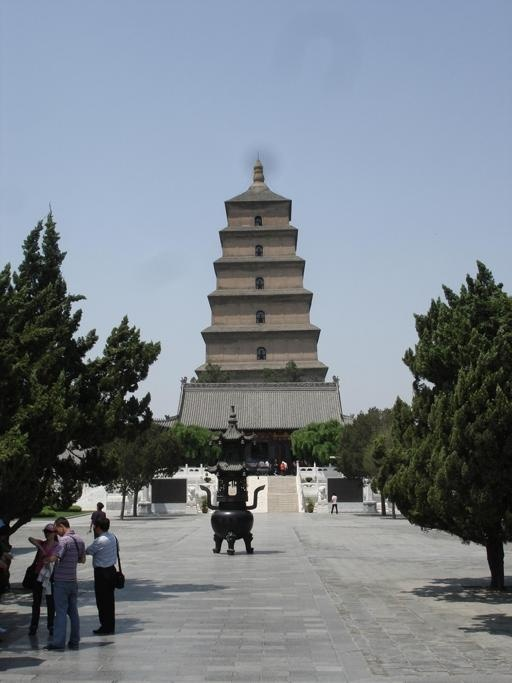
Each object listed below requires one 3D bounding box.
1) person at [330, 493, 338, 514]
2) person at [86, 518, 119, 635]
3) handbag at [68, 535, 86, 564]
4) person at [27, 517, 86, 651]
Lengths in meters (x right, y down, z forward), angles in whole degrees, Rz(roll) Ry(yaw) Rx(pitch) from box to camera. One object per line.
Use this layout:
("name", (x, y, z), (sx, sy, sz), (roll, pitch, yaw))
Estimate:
("person", (4.864, 10.103, 39.397), (0.411, 1.107, 1.493), (-2, -11, 5))
("person", (-1.784, 2.684, 7.290), (0.330, 1.295, 0.727), (1, -11, -13))
("handbag", (-1.953, 2.247, 6.888), (0.211, 0.291, 0.296), (5, -27, -15))
("person", (-2.051, 2.600, 6.820), (0.421, 1.330, 1.283), (2, -11, -18))
